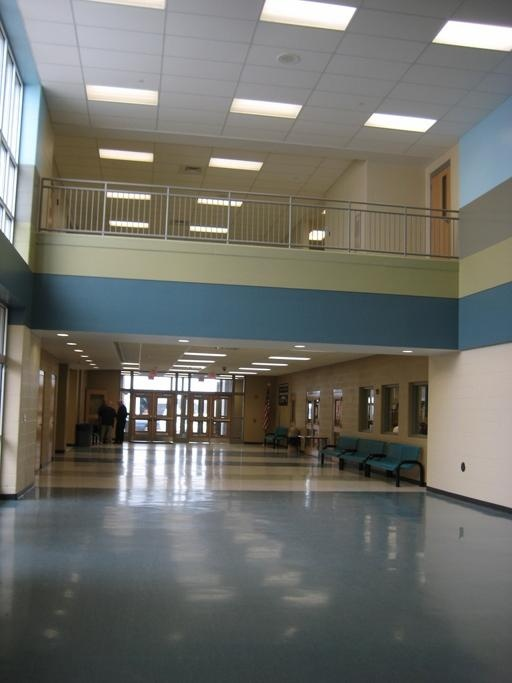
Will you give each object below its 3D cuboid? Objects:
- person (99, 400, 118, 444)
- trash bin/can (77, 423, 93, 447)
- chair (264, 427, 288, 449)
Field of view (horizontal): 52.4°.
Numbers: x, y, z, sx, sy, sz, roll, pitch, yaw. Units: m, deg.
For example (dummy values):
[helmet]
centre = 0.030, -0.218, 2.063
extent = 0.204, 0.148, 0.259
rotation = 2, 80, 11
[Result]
[person]
centre = -6.587, 3.568, 23.173
extent = 0.690, 1.928, 0.609
rotation = 4, 16, -23
[trash bin/can]
centre = -7.152, 3.954, 21.683
extent = 0.599, 0.921, 0.486
rotation = 4, -6, -20
[chair]
centre = 1.082, 4.640, 24.696
extent = 1.005, 1.223, 1.298
rotation = 1, -6, -30
